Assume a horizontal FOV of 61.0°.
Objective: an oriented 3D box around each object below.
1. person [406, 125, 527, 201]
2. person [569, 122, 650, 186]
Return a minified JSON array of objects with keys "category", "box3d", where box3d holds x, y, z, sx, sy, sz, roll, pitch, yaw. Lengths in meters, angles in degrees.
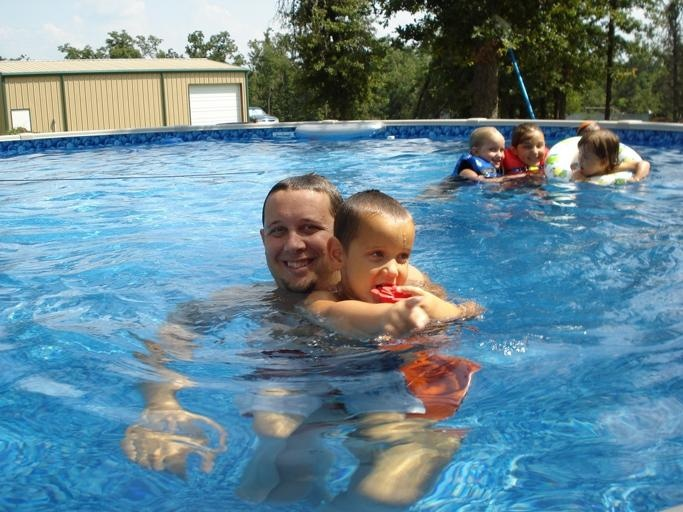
[{"category":"person","box3d":[1.619,-1.211,7.342,1.246,0.861,0.958,0,10,2]},{"category":"person","box3d":[3.152,-1.205,6.924,0.919,0.624,0.479,-6,12,-31]}]
